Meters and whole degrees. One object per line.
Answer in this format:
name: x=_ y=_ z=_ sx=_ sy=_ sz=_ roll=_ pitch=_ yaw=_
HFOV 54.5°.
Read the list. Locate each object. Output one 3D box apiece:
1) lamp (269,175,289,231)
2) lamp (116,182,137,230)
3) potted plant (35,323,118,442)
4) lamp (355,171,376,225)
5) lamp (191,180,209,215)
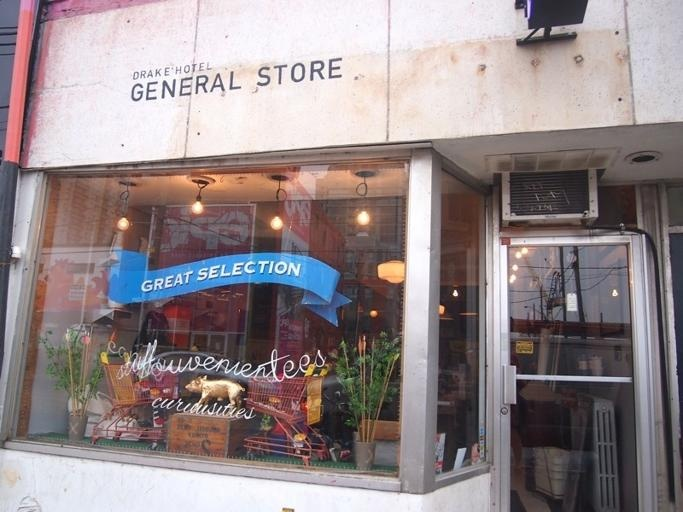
lamp: x=-0.582 y=-0.481 z=6.019 sx=0.166 sy=0.515 sz=0.063 roll=-2 pitch=-9 yaw=15
lamp: x=-2.095 y=-0.477 z=6.375 sx=0.201 sy=0.485 sz=0.101 roll=0 pitch=-9 yaw=8
potted plant: x=-2.541 y=1.122 z=6.362 sx=0.526 sy=1.129 sz=0.566 roll=3 pitch=3 yaw=23
lamp: x=0.191 y=-0.508 z=5.855 sx=0.187 sy=0.525 sz=0.191 roll=4 pitch=-13 yaw=-4
lamp: x=-1.345 y=-0.543 z=6.220 sx=0.156 sy=0.319 sz=0.081 roll=1 pitch=-9 yaw=2
